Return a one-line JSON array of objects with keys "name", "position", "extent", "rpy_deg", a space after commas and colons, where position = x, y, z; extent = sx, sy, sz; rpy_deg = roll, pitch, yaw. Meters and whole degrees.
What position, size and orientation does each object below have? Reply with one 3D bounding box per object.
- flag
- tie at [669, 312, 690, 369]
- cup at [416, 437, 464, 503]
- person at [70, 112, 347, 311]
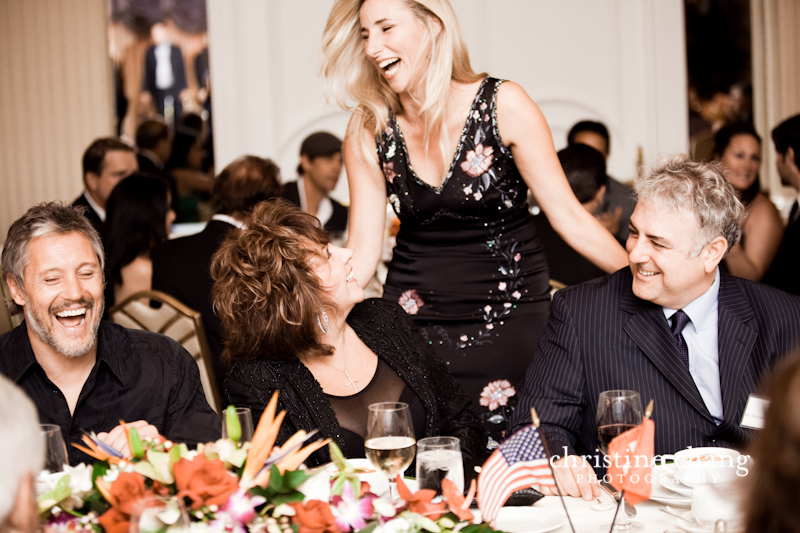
[{"name": "flag", "position": [0.252, 0.477, 1.699], "extent": [0.194, 0.251, 0.023], "rpy_deg": [-15, 21, 14]}, {"name": "tie", "position": [0.908, 0.229, 2.392], "extent": [0.050, 0.198, 0.026], "rpy_deg": [-9, -11, 19]}, {"name": "cup", "position": [0.098, 0.476, 1.739], "extent": [0.132, 0.146, 0.129], "rpy_deg": [0, -15, 0]}, {"name": "person", "position": [-0.968, -0.282, 4.041], "extent": [1.435, 0.948, 0.956], "rpy_deg": [-5, 4, -24]}]
